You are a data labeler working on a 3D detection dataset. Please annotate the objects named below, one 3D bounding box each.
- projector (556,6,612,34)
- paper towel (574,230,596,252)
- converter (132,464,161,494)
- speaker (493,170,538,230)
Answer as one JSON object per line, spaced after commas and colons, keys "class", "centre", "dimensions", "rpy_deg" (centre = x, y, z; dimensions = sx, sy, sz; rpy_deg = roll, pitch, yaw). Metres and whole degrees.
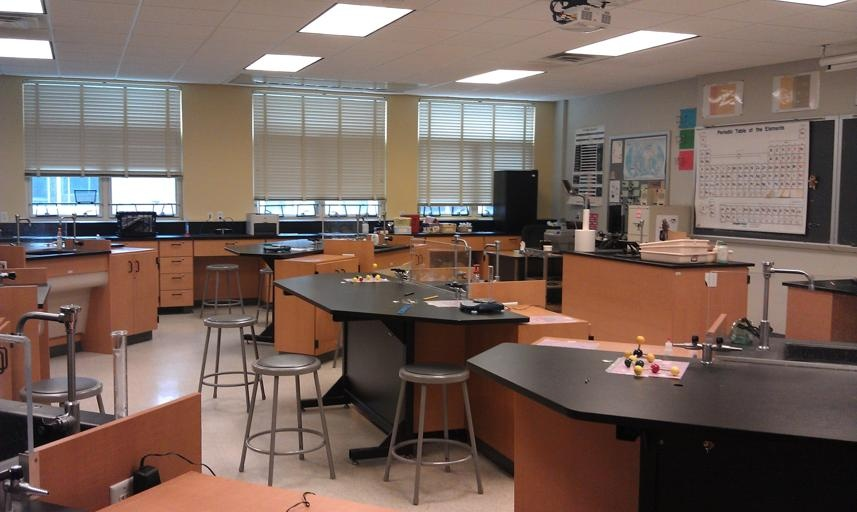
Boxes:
{"class": "projector", "centre": [1.434, -2.144, 5.812], "dimensions": [0.318, 0.105, 0.326], "rpy_deg": [-1, 3, -41]}
{"class": "paper towel", "centre": [1.886, -0.182, 7.654], "dimensions": [0.283, 0.272, 0.261], "rpy_deg": [0, 4, -4]}
{"class": "converter", "centre": [-1.601, 1.258, 3.631], "dimensions": [0.125, 0.148, 0.101], "rpy_deg": [2, 7, 31]}
{"class": "speaker", "centre": [1.507, -0.973, 11.342], "dimensions": [0.763, 1.112, 0.396], "rpy_deg": [-1, 6, 5]}
